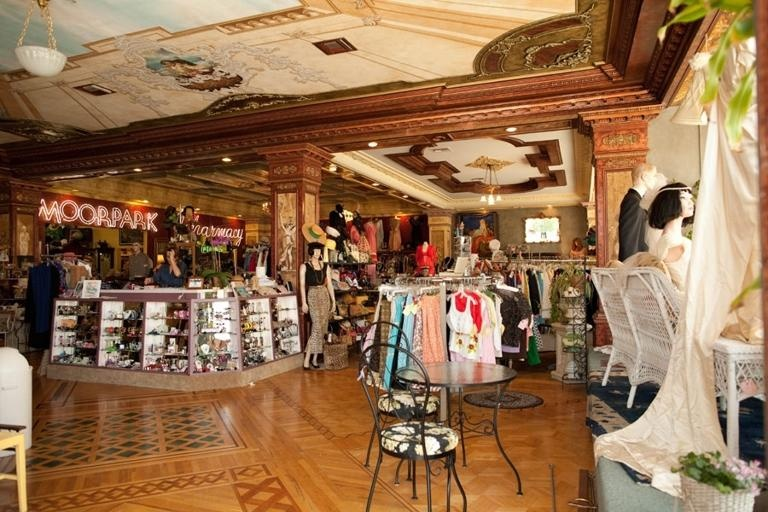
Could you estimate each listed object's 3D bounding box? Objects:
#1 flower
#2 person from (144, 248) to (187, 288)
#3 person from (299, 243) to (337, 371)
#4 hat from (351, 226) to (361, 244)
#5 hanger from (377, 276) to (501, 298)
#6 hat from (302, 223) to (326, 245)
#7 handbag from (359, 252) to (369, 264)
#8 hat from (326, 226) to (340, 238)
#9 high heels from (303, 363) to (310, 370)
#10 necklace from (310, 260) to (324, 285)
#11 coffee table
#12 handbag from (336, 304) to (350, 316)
[{"bbox_3d":[1.768,1.086,2.551,0.352,0.116,0.291,0,-3,-3],"label":"flower"},{"bbox_3d":[-3.798,0.399,8.624,0.681,0.950,0.471,3,1,-12],"label":"person"},{"bbox_3d":[-1.121,0.851,8.256,0.460,2.075,0.542,-2,-5,21],"label":"person"},{"bbox_3d":[-0.679,-0.493,11.599,0.162,0.391,0.315,-17,1,11],"label":"hat"},{"bbox_3d":[0.677,0.353,5.951,1.287,0.279,1.312,-1,-4,12],"label":"hanger"},{"bbox_3d":[-1.223,-0.392,8.803,0.360,0.400,0.325,-4,-6,42],"label":"hat"},{"bbox_3d":[-0.426,0.029,10.559,0.269,0.209,0.235,0,-2,4],"label":"handbag"},{"bbox_3d":[-1.018,-0.471,9.720,0.237,0.256,0.354,-1,-4,6],"label":"hat"},{"bbox_3d":[-1.290,1.855,8.246,0.135,0.068,0.214,0,-6,2],"label":"high heels"},{"bbox_3d":[-1.095,0.325,8.152,0.317,0.317,0.121,3,-6,-37],"label":"necklace"},{"bbox_3d":[0.922,1.474,4.661,1.220,1.121,1.155,-2,-4,-21],"label":"coffee table"},{"bbox_3d":[-0.778,1.022,9.264,0.063,0.174,0.315,-13,-9,30],"label":"handbag"}]
